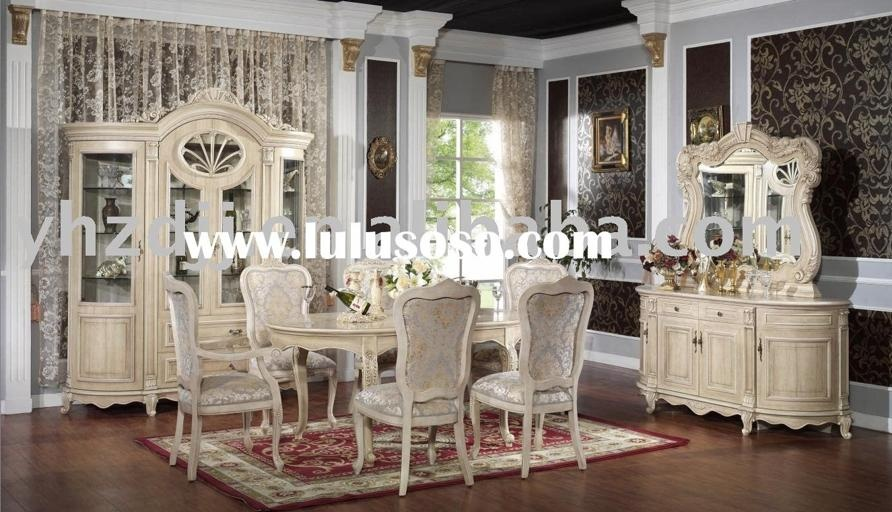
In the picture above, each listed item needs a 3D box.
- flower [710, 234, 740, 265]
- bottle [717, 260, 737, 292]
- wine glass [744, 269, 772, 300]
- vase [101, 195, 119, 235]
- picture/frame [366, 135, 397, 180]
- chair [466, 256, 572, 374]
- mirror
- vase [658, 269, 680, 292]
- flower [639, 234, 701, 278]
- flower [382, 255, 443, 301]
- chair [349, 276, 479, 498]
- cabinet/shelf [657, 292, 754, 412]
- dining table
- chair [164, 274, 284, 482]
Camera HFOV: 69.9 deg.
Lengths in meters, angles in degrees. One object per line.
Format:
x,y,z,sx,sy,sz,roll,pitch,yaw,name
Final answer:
3.038,-0.045,6.926,0.239,0.180,0.305,0,6,-3,flower
3.003,0.214,6.770,0.161,0.299,0.248,3,7,22,bottle
3.268,0.269,6.630,0.351,0.303,0.250,-3,8,-21,wine glass
-3.567,-0.432,6.771,0.161,0.378,0.054,0,7,1,vase
-0.859,-1.263,8.183,0.630,0.692,0.054,-3,3,-39,picture/frame
0.847,0.689,6.563,0.904,1.298,0.877,-4,25,-30,chair
3.292,-0.430,6.813,0.248,2.179,2.066,0,1,-44,mirror
2.496,0.279,7.080,0.268,0.231,0.264,-1,-1,26,vase
2.484,0.008,7.125,0.500,0.337,0.504,-2,-1,39,flower
-0.268,0.180,5.616,0.460,0.281,0.434,-3,12,-15,flower
-0.213,1.016,5.084,0.921,1.685,0.439,0,7,2,chair
2.702,0.987,6.550,0.697,1.144,1.289,5,-5,-40,cabinet/shelf
-0.346,1.240,6.541,2.867,1.272,1.899,0,1,-40,dining table
-1.993,0.961,5.636,0.908,1.647,1.184,-3,7,-23,chair
